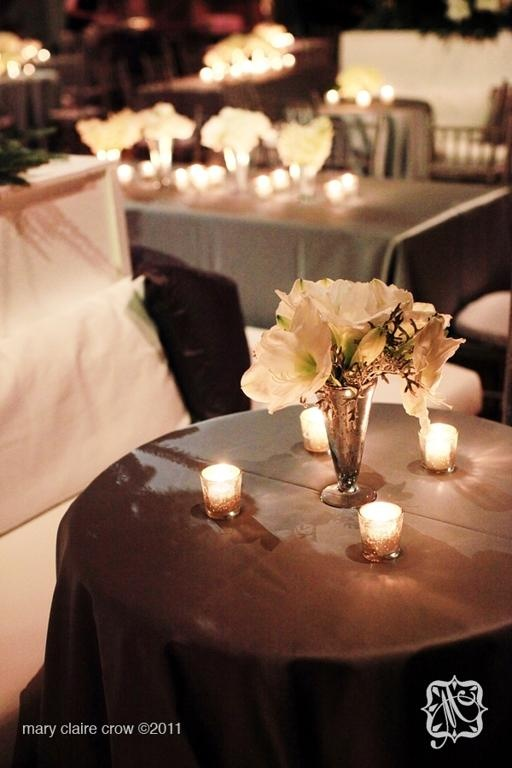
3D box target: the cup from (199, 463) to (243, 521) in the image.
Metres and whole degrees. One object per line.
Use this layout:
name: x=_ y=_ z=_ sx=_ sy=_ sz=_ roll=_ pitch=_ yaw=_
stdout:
cup: x=-0.049 y=0.162 z=1.016 sx=0.077 sy=0.080 sz=0.073 roll=-2 pitch=24 yaw=1

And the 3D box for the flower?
flower: x=0.136 y=-0.042 z=0.897 sx=0.240 sy=0.139 sz=0.218 roll=0 pitch=-3 yaw=-34

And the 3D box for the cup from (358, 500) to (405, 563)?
cup: x=0.162 y=0.189 z=0.840 sx=0.071 sy=0.073 sz=0.068 roll=-3 pitch=24 yaw=1

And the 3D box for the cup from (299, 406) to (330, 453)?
cup: x=0.121 y=0.082 z=1.177 sx=0.059 sy=0.068 sz=0.070 roll=4 pitch=9 yaw=43
